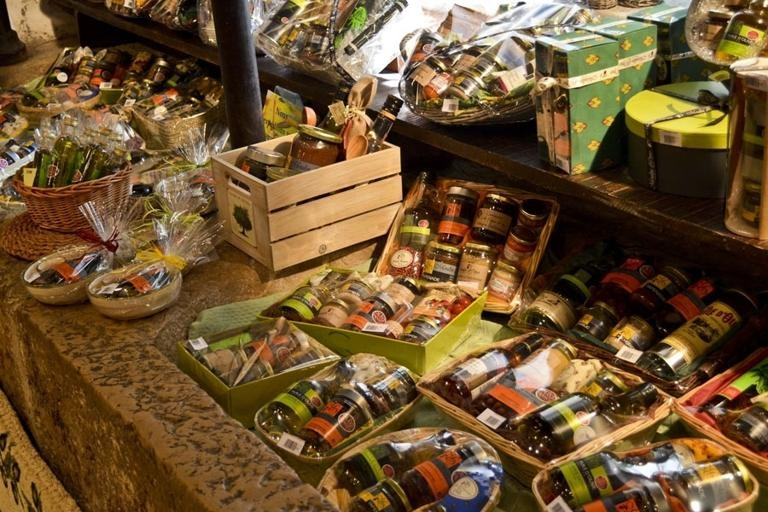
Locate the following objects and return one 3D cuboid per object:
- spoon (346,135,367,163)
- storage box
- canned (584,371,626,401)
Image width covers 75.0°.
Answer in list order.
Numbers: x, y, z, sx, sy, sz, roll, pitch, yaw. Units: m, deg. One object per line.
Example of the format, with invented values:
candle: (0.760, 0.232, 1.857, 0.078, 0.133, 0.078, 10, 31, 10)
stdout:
spoon: (-0.095, -0.370, 1.738, 0.065, 0.095, 0.019, -10, 1, 30)
storage box: (-0.276, -0.225, 1.815, 0.544, 0.277, 0.359, -23, 40, -35)
canned: (0.552, 0.325, 1.258, 0.064, 0.060, 0.064, -29, 34, -17)
